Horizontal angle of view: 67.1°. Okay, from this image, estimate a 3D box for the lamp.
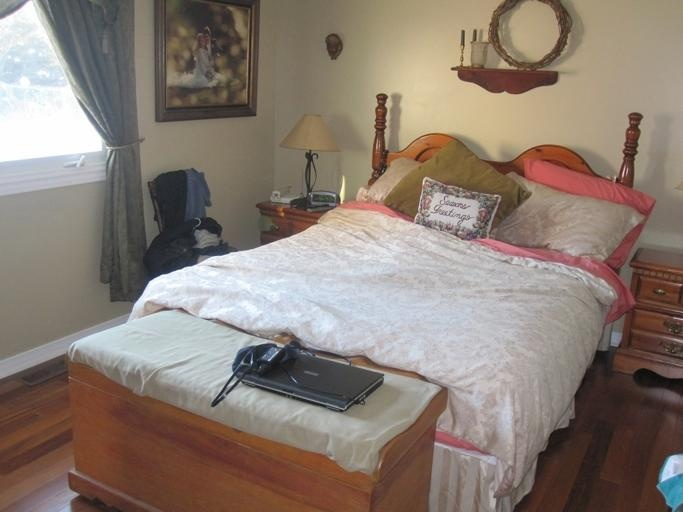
[{"bbox_3d":[-0.269,-0.803,4.439,0.452,0.726,0.435,-2,13,-19],"label":"lamp"}]

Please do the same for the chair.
[{"bbox_3d":[-1.108,-0.158,3.910,0.561,0.803,0.605,-14,41,-30],"label":"chair"}]

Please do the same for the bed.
[{"bbox_3d":[0.901,0.038,4.325,2.316,1.850,2.328,14,20,33],"label":"bed"}]

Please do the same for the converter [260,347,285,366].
[{"bbox_3d":[-0.262,0.377,1.941,0.053,0.022,0.071,5,12,17],"label":"converter"}]

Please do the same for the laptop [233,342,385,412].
[{"bbox_3d":[-0.138,0.448,1.912,0.418,0.060,0.252,10,17,28],"label":"laptop"}]

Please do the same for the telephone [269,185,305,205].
[{"bbox_3d":[-0.464,-0.536,4.626,0.203,0.255,0.285,4,7,28],"label":"telephone"}]

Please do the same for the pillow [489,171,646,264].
[{"bbox_3d":[1.494,-0.260,3.439,0.853,0.393,0.523,15,22,31],"label":"pillow"}]
